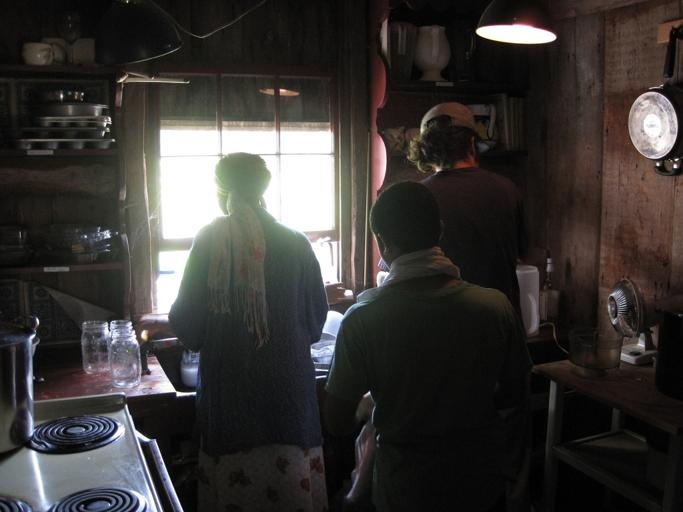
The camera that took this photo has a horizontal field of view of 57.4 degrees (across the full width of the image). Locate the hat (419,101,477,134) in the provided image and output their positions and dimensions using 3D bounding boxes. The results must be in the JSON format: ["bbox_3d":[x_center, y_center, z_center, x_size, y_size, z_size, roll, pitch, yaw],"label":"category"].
[{"bbox_3d":[0.480,-0.615,2.735,0.187,0.103,0.148,-7,4,-5],"label":"hat"}]

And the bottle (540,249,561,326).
[{"bbox_3d":[1.239,0.185,3.712,0.109,0.415,0.162,0,3,19],"label":"bottle"}]

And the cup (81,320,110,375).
[{"bbox_3d":[-1.160,0.433,2.942,0.117,0.246,0.233,-3,4,-35],"label":"cup"}]

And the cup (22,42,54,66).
[{"bbox_3d":[-1.421,-0.925,2.907,0.119,0.091,0.110,2,9,0],"label":"cup"}]

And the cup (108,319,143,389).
[{"bbox_3d":[-0.993,0.443,2.833,0.147,0.277,0.153,-1,3,0],"label":"cup"}]
